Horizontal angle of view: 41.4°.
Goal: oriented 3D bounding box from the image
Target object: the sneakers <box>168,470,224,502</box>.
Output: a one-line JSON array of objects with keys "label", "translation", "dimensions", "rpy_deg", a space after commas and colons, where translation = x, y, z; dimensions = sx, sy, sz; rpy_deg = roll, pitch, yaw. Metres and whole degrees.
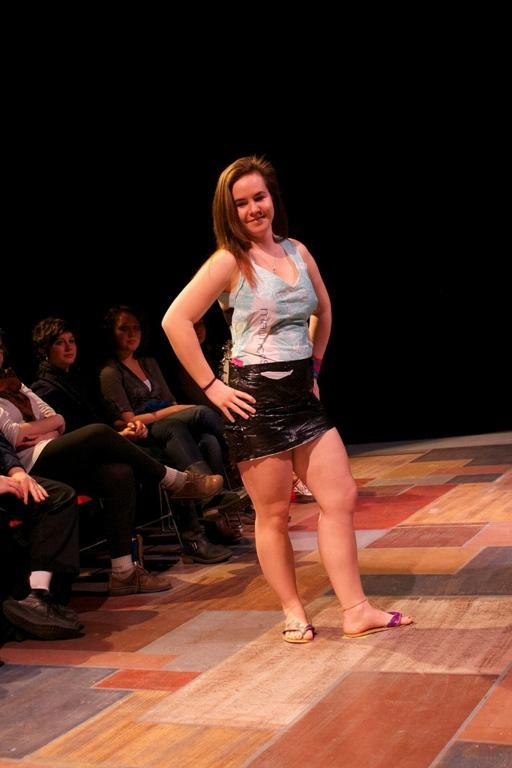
[{"label": "sneakers", "translation": [-0.243, 0.421, 2.809], "dimensions": [0.194, 0.081, 0.114], "rpy_deg": [-4, 32, 6]}]

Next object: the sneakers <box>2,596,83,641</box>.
[{"label": "sneakers", "translation": [-0.621, 0.698, 2.061], "dimensions": [0.258, 0.111, 0.115], "rpy_deg": [15, 29, -20]}]

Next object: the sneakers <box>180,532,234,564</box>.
[{"label": "sneakers", "translation": [-0.216, 0.716, 2.963], "dimensions": [0.251, 0.108, 0.097], "rpy_deg": [-2, 5, 26]}]

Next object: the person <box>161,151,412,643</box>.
[{"label": "person", "translation": [0.080, 0.039, 1.871], "dimensions": [0.671, 1.275, 0.291], "rpy_deg": [-2, 0, -12]}]

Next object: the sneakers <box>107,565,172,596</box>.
[{"label": "sneakers", "translation": [-0.433, 0.748, 2.582], "dimensions": [0.242, 0.106, 0.096], "rpy_deg": [0, -4, -8]}]

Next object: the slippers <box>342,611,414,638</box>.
[{"label": "slippers", "translation": [0.323, 0.610, 1.779], "dimensions": [0.158, 0.033, 0.068], "rpy_deg": [-12, 3, -11]}]
